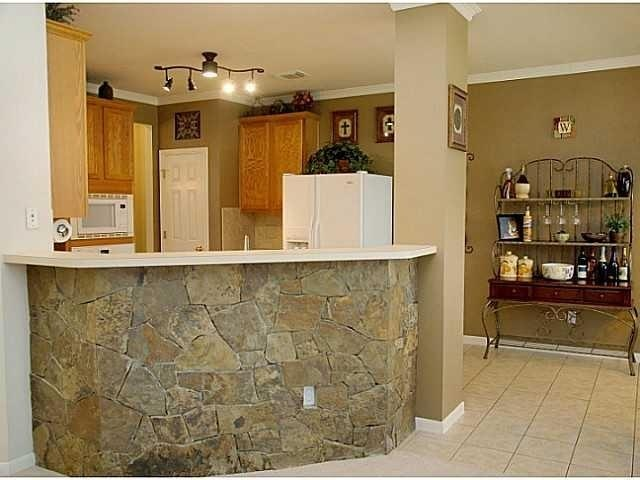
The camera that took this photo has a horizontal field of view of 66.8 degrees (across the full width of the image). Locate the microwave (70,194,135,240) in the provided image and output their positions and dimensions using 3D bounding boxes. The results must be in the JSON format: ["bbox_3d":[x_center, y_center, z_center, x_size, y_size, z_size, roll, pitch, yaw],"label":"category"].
[{"bbox_3d":[-2.553,-0.276,5.716,0.198,0.525,0.864,2,6,20],"label":"microwave"}]

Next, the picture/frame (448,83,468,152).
[{"bbox_3d":[1.082,-0.978,3.856,0.043,0.619,0.606,0,1,28],"label":"picture/frame"}]

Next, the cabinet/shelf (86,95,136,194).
[{"bbox_3d":[-2.535,-1.124,5.869,0.158,1.120,0.657,3,7,26],"label":"cabinet/shelf"}]

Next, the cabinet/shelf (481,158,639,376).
[{"bbox_3d":[2.693,0.210,5.381,1.571,2.271,0.746,3,8,24],"label":"cabinet/shelf"}]

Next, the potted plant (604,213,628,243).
[{"bbox_3d":[3.214,-0.137,5.266,0.219,0.308,0.284,4,7,31],"label":"potted plant"}]

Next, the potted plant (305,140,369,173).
[{"bbox_3d":[0.197,-0.983,5.833,0.798,0.367,0.428,1,6,8],"label":"potted plant"}]

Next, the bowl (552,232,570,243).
[{"bbox_3d":[2.703,-0.034,5.441,0.136,0.094,0.139,1,-4,0],"label":"bowl"}]

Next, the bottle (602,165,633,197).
[{"bbox_3d":[3.218,-0.632,5.247,0.264,0.339,0.308,4,8,32],"label":"bottle"}]

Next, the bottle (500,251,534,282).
[{"bbox_3d":[2.224,0.296,5.527,0.396,0.301,0.238,2,2,15],"label":"bottle"}]
